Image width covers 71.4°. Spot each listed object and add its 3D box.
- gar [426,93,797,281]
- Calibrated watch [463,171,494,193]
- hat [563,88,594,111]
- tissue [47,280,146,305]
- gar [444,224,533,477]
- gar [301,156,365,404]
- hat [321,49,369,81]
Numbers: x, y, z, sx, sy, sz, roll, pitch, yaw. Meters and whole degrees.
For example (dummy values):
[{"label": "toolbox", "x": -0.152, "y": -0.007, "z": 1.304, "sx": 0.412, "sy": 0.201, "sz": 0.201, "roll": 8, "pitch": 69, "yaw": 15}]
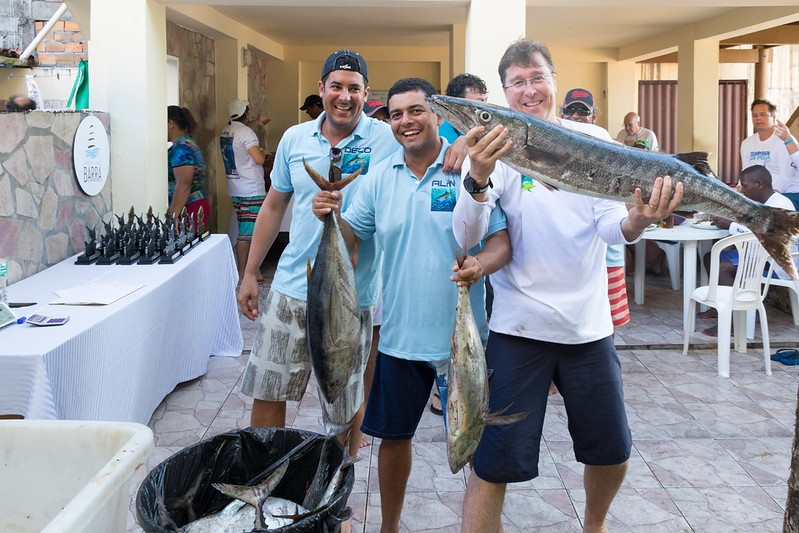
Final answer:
[{"label": "gar", "x": 0.692, "y": -0.295, "z": 1.824, "sx": 1.170, "sy": 0.496, "sz": 0.298, "roll": 3, "pitch": 14, "yaw": 11}, {"label": "Calibrated watch", "x": 0.308, "y": -0.320, "z": 2.124, "sx": 0.089, "sy": 0.073, "sz": 0.051, "roll": -2, "pitch": -10, "yaw": 4}, {"label": "hat", "x": 1.472, "y": -1.376, "z": 4.520, "sx": 0.214, "sy": 0.156, "sz": 0.307, "roll": 4, "pitch": 3, "yaw": 23}, {"label": "tissue", "x": -1.927, "y": 0.169, "z": 3.455, "sx": 0.489, "sy": 0.028, "sz": 0.422, "roll": 0, "pitch": 13, "yaw": 0}, {"label": "gar", "x": 0.293, "y": 0.286, "z": 2.065, "sx": 0.328, "sy": 0.822, "sz": 0.247, "roll": -1, "pitch": 0, "yaw": -19}, {"label": "gar", "x": -0.190, "y": 0.062, "z": 2.127, "sx": 0.220, "sy": 0.900, "sz": 0.334, "roll": 2, "pitch": -13, "yaw": -10}, {"label": "hat", "x": -0.284, "y": -1.042, "z": 2.869, "sx": 0.227, "sy": 0.163, "sz": 0.220, "roll": -1, "pitch": 14, "yaw": -6}]
